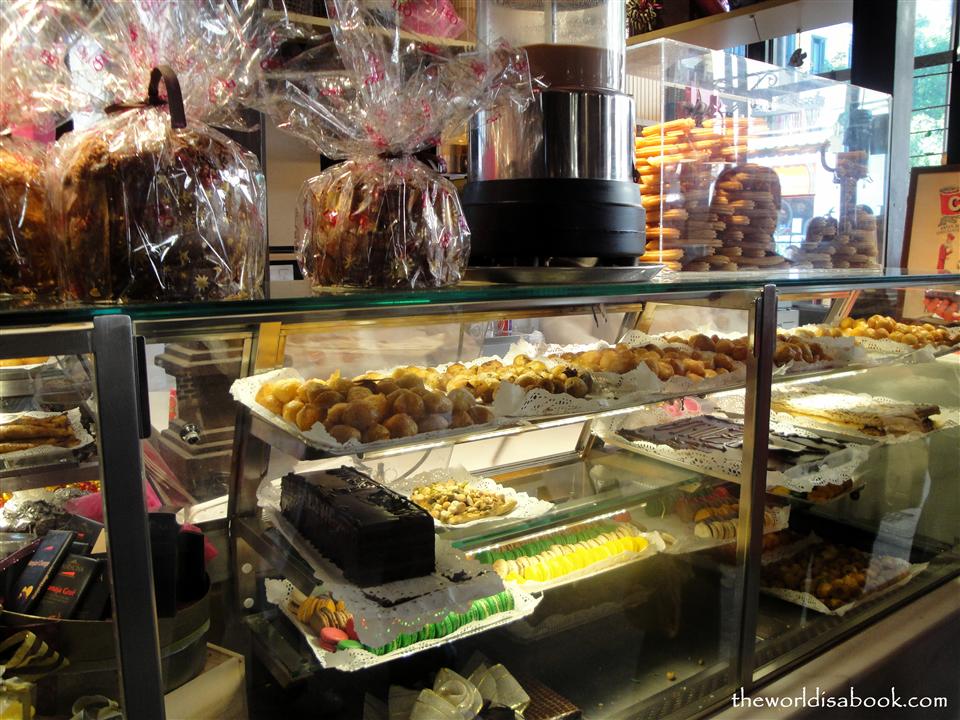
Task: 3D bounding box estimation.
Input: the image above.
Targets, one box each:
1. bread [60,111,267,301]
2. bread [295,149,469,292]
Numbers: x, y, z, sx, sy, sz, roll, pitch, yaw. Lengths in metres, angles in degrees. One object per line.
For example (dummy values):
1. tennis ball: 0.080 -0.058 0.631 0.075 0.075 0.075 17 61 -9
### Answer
1. bread: -0.438 -0.198 1.013 0.273 0.248 0.255 -4 8 -30
2. bread: -0.164 -0.222 1.153 0.278 0.178 0.265 0 11 -4
